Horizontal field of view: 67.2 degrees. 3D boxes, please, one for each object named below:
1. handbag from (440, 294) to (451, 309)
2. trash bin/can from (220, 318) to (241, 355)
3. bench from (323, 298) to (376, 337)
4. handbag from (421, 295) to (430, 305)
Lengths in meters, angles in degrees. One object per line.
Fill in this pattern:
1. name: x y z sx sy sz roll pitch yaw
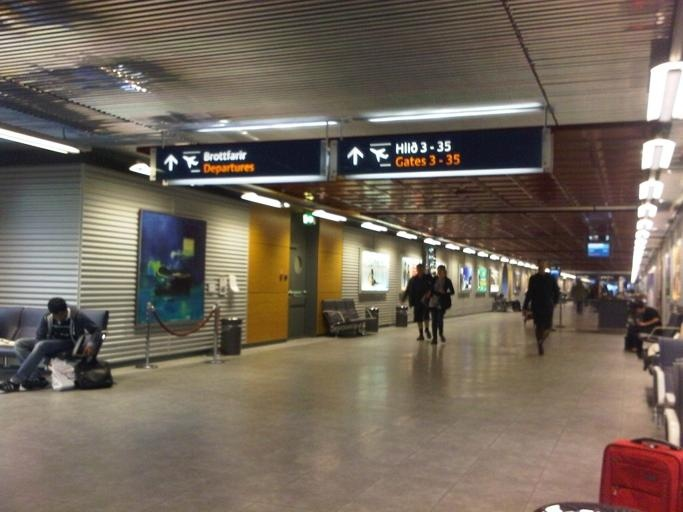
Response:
1. handbag: 3.171 1.318 15.436 0.343 0.682 0.471 3 0 11
2. trash bin/can: -2.593 1.879 12.188 0.501 0.670 0.325 -3 -1 -8
3. bench: 0.319 2.127 17.771 1.077 1.171 2.347 0 -3 29
4. handbag: 2.611 1.330 15.750 0.152 0.296 0.445 -2 -1 -11
